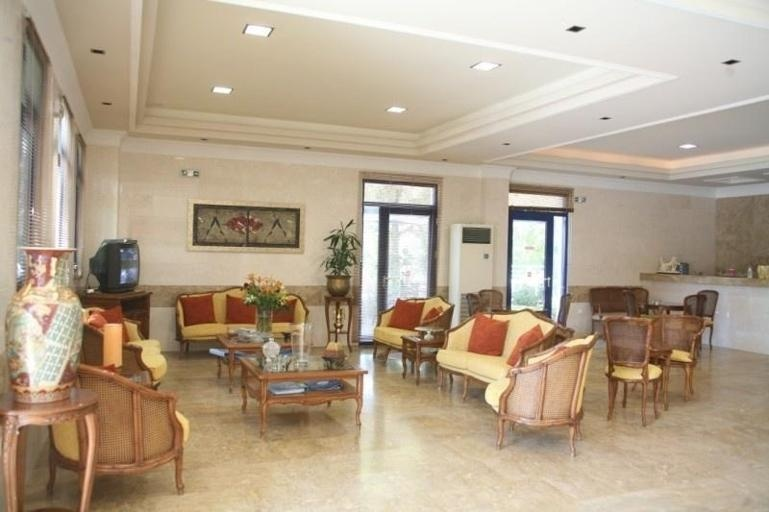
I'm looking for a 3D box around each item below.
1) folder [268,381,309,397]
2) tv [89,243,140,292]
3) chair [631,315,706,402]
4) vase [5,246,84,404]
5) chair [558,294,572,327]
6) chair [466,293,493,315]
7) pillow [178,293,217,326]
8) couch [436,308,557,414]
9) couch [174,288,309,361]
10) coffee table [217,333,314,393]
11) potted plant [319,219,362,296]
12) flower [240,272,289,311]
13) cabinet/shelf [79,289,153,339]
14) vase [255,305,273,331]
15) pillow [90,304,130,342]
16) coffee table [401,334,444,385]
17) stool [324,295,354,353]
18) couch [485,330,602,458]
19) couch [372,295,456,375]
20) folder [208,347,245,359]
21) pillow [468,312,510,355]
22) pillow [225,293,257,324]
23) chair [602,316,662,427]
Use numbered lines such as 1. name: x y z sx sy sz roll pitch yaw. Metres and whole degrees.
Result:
1. folder: -1.054 1.433 5.916 0.410 0.077 0.291 1 4 -11
2. tv: -3.971 0.151 8.105 0.396 0.778 0.724 4 6 19
3. chair: 3.706 1.274 6.987 0.719 0.883 0.725 -9 7 -44
4. vase: -2.262 0.448 3.602 0.444 1.000 0.290 -1 7 -27
5. chair: 3.457 1.040 10.423 0.199 0.616 0.420 4 6 19
6. chair: 1.824 0.906 10.386 0.475 0.501 0.507 -2 -5 11
7. pillow: -3.159 0.902 9.155 0.553 0.496 0.388 0 6 -23
8. couch: 1.423 1.255 6.903 0.989 1.006 1.652 -1 0 -27
9. couch: -2.440 1.075 9.331 2.232 1.017 0.751 2 6 -20
10. coffee table: -1.438 1.553 7.145 0.881 0.398 0.721 7 18 -43
11. potted plant: -0.776 0.022 10.072 0.728 1.397 0.857 1 6 -7
12. flower: -1.701 0.518 7.658 0.751 0.473 0.709 7 1 -20
13. cabinet/shelf: -3.359 0.699 6.772 0.601 0.760 0.863 -1 4 6
14. vase: -1.650 0.869 7.491 0.194 0.335 0.169 0 6 -21
15. pillow: -2.931 0.718 5.778 0.108 0.342 0.356 -32 -23 18
16. coffee table: 0.444 1.458 7.986 0.714 0.585 0.759 0 3 -22
17. stool: -0.832 1.218 10.032 0.538 1.027 0.769 2 5 -3
18. couch: 1.626 1.386 5.935 1.328 1.171 1.052 1 -1 12
19. couch: 0.468 1.206 8.792 0.926 1.074 1.500 3 -2 -25
20. folder: -2.184 1.349 7.571 0.555 0.117 0.523 4 -2 -16
21. pillow: 1.387 1.027 7.087 0.521 0.461 0.272 4 -11 38
22. pillow: -2.365 0.897 8.972 0.650 0.549 0.204 1 -25 -12
23. chair: 3.105 1.326 6.760 0.685 1.240 1.082 5 6 26
